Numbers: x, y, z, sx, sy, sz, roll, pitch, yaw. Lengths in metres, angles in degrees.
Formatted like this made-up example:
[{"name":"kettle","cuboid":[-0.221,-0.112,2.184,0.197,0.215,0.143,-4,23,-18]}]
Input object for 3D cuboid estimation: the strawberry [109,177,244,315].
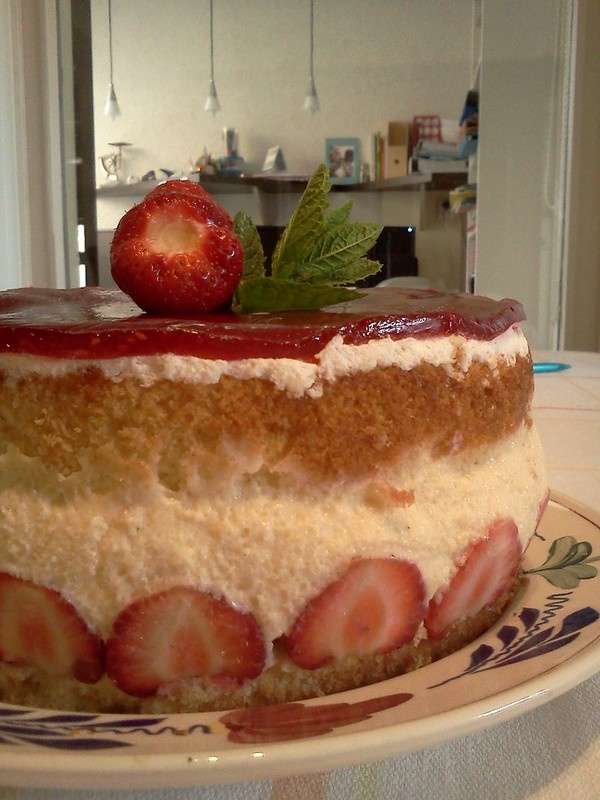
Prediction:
[{"name":"strawberry","cuboid":[-0.119,-0.134,0.860,0.132,0.117,0.070,20,-24,-4]}]
